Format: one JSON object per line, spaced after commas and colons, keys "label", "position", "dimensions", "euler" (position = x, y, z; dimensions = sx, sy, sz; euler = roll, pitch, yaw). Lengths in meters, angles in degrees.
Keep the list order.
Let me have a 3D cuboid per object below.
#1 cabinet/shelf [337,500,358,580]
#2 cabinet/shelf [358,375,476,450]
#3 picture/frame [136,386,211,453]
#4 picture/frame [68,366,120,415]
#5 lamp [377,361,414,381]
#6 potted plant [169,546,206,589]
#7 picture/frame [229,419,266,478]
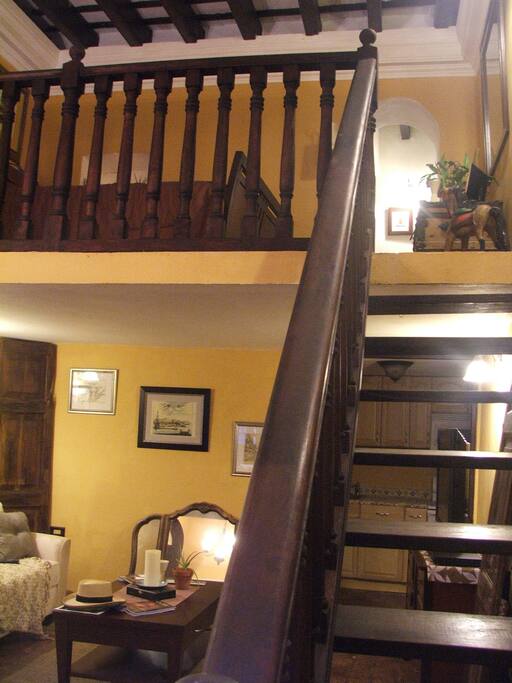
{"label": "cabinet/shelf", "position": [1.007, 2.112, 6.308], "dimensions": [0.145, 0.814, 0.341], "euler": [2, -6, 11]}
{"label": "cabinet/shelf", "position": [1.716, 0.791, 6.505], "dimensions": [1.198, 0.802, 0.410], "euler": [3, -6, 16]}
{"label": "picture/frame", "position": [-0.682, 0.682, 5.066], "dimensions": [0.458, 0.503, 0.039], "euler": [1, -5, 9]}
{"label": "picture/frame", "position": [-1.442, 0.456, 5.321], "dimensions": [0.349, 0.403, 0.038], "euler": [0, -2, 14]}
{"label": "lamp", "position": [0.769, 0.185, 3.393], "dimensions": [0.168, 0.109, 0.617], "euler": [3, -7, 12]}
{"label": "potted plant", "position": [-0.489, 1.606, 4.326], "dimensions": [0.219, 0.390, 0.269], "euler": [1, -11, 11]}
{"label": "picture/frame", "position": [-0.084, 0.889, 4.884], "dimensions": [0.267, 0.452, 0.096], "euler": [0, -7, 30]}
